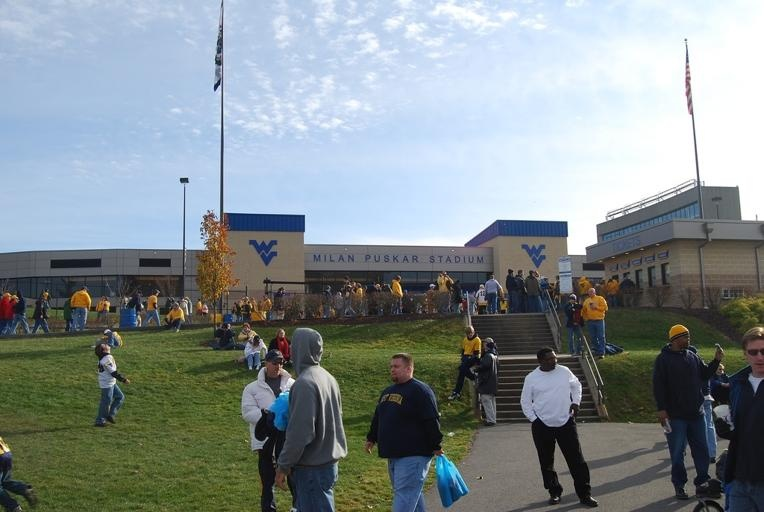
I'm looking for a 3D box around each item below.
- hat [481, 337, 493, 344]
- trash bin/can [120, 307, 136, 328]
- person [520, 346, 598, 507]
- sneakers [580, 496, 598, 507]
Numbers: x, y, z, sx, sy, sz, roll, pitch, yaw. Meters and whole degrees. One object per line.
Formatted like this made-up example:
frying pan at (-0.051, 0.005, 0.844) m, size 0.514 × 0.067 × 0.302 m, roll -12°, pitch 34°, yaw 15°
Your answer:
hat at (3.074, 2.517, 25.165) m, size 0.377 × 0.148 × 0.255 m, roll 3°, pitch -3°, yaw 7°
trash bin/can at (-10.811, 2.671, 36.650) m, size 0.789 × 0.890 × 0.824 m, roll -1°, pitch -2°, yaw 32°
person at (3.735, 3.671, 18.297) m, size 1.013 × 3.345 × 1.173 m, roll 4°, pitch -7°, yaw -43°
sneakers at (4.359, 5.212, 17.995) m, size 0.170 × 0.155 × 0.343 m, roll 3°, pitch -9°, yaw -26°
